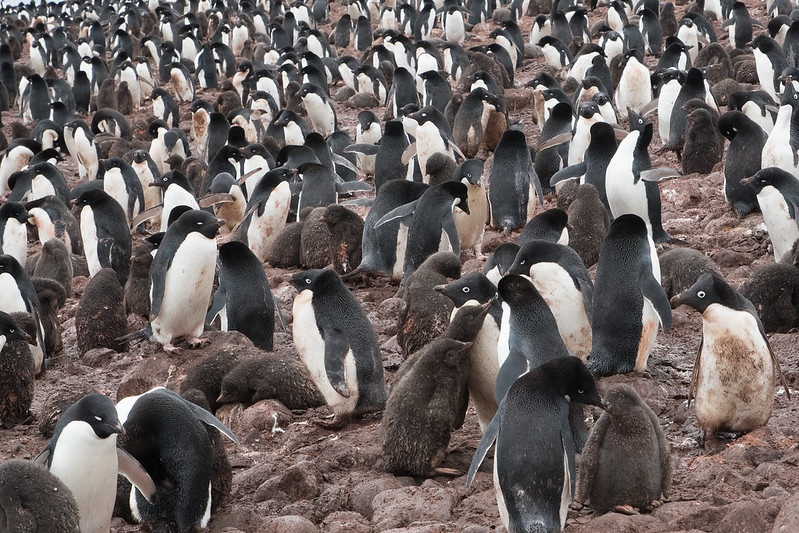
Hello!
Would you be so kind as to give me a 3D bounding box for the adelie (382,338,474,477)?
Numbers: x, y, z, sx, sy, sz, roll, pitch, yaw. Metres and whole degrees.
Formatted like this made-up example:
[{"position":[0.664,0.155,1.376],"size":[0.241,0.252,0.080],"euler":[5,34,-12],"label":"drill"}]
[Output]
[{"position":[0.221,1.215,7.889],"size":[0.763,1.179,0.281],"euler":[0,3,-2],"label":"adelie"}]
